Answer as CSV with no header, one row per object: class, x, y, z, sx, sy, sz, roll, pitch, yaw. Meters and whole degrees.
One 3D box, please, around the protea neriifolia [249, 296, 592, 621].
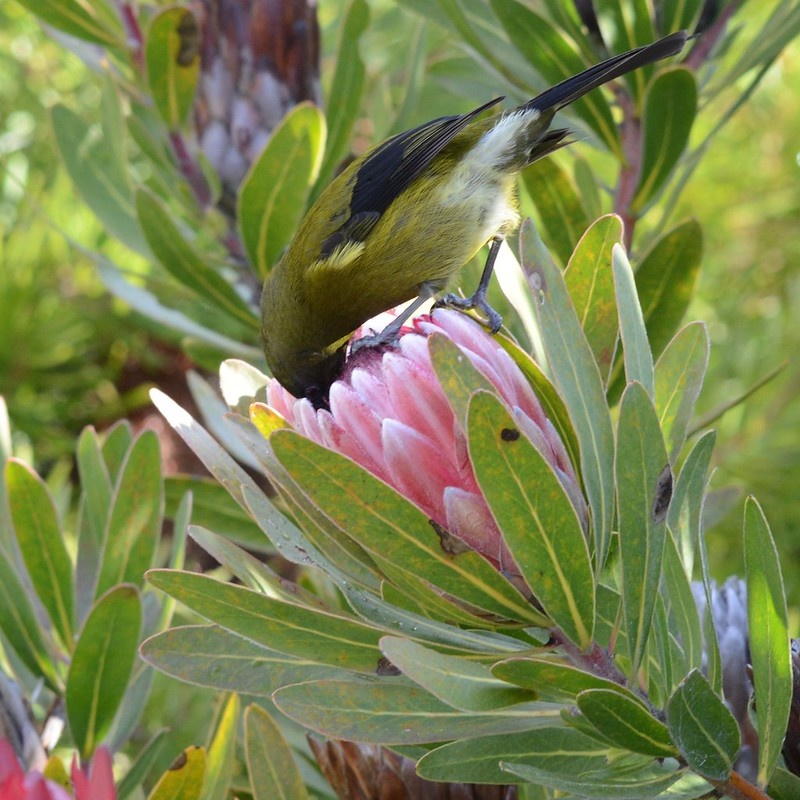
protea neriifolia,0.012,0.005,1.344,0.266,0.302,0.408,-28,38,-18
